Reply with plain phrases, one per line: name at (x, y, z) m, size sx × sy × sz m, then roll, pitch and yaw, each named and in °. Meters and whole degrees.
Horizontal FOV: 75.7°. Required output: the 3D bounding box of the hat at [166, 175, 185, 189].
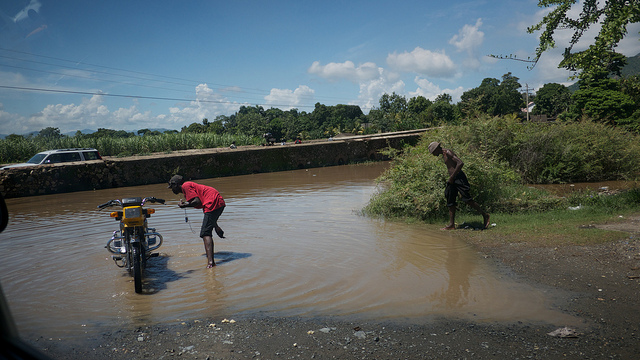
hat at (-4.134, 0.028, 11.855) m, size 0.456 × 0.222 × 0.303 m, roll 1°, pitch 2°, yaw 2°

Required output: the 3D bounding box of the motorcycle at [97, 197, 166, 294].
motorcycle at (-5.026, 1.686, 11.224) m, size 1.159 × 2.341 × 1.796 m, roll -5°, pitch 6°, yaw -42°

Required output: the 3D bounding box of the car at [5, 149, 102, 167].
car at (-15.064, -1.371, 24.516) m, size 3.516 × 1.030 × 1.430 m, roll 0°, pitch 2°, yaw -29°

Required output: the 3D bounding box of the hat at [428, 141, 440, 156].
hat at (3.830, -1.060, 13.839) m, size 0.120 × 0.353 × 0.361 m, roll 43°, pitch 22°, yaw -6°
